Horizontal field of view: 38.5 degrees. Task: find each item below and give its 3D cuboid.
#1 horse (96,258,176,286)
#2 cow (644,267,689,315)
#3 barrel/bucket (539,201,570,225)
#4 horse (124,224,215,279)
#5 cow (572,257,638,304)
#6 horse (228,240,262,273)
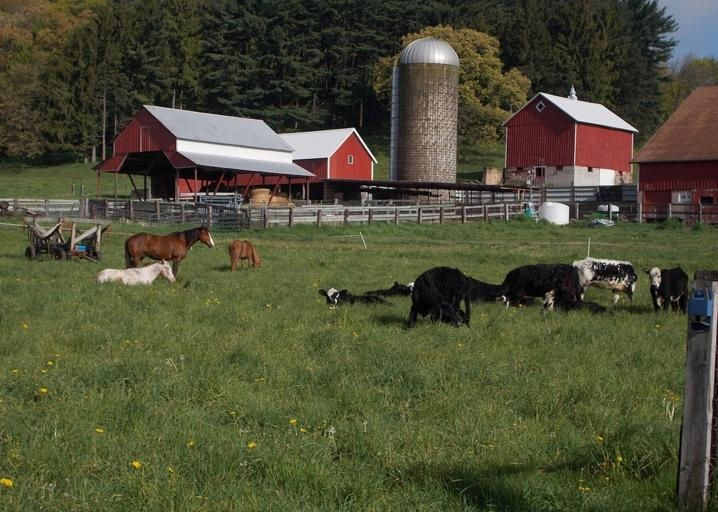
[{"bbox_3d":[-9.832,0.693,45.782,3.290,1.010,1.131,1,3,-15],"label":"horse"},{"bbox_3d":[13.165,1.414,43.713,1.732,1.841,0.796,1,3,-12],"label":"cow"},{"bbox_3d":[13.062,-2.909,68.891,1.550,1.828,1.582,1,0,0],"label":"barrel/bucket"},{"bbox_3d":[-8.968,-0.265,48.348,3.827,3.286,1.092,1,24,-14],"label":"horse"},{"bbox_3d":[10.924,1.359,44.689,3.125,2.311,0.982,7,-22,0],"label":"cow"},{"bbox_3d":[-5.511,-0.089,49.263,0.447,1.426,1.593,4,4,45],"label":"horse"}]
